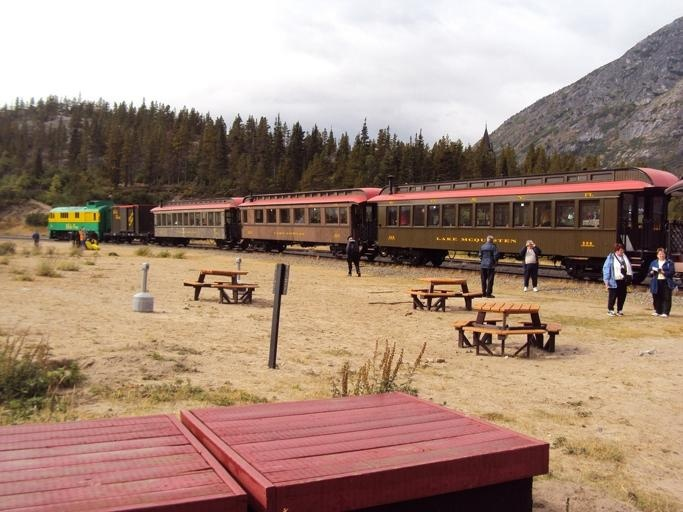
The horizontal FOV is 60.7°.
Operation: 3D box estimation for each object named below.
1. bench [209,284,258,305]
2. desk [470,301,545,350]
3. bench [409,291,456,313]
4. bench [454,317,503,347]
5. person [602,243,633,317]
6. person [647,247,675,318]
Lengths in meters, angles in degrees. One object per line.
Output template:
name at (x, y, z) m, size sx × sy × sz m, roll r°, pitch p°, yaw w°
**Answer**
bench at (-3.160, 1.036, 17.182) m, size 1.061 × 0.636 × 2.803 m, roll 1°, pitch 3°, yaw -12°
desk at (3.406, 1.159, 11.688) m, size 1.228 × 0.601 × 1.127 m, roll 3°, pitch 9°, yaw 12°
bench at (2.594, 1.228, 16.540) m, size 1.174 × 0.622 × 2.855 m, roll 2°, pitch 3°, yaw 10°
bench at (2.513, 1.525, 11.714) m, size 0.901 × 0.432 × 0.564 m, roll 0°, pitch -2°, yaw -20°
person at (7.434, 0.626, 15.758) m, size 0.664 × 1.889 × 1.384 m, roll 3°, pitch 3°, yaw 26°
person at (8.510, 0.700, 15.568) m, size 0.549 × 1.790 × 1.015 m, roll 3°, pitch 3°, yaw 26°
